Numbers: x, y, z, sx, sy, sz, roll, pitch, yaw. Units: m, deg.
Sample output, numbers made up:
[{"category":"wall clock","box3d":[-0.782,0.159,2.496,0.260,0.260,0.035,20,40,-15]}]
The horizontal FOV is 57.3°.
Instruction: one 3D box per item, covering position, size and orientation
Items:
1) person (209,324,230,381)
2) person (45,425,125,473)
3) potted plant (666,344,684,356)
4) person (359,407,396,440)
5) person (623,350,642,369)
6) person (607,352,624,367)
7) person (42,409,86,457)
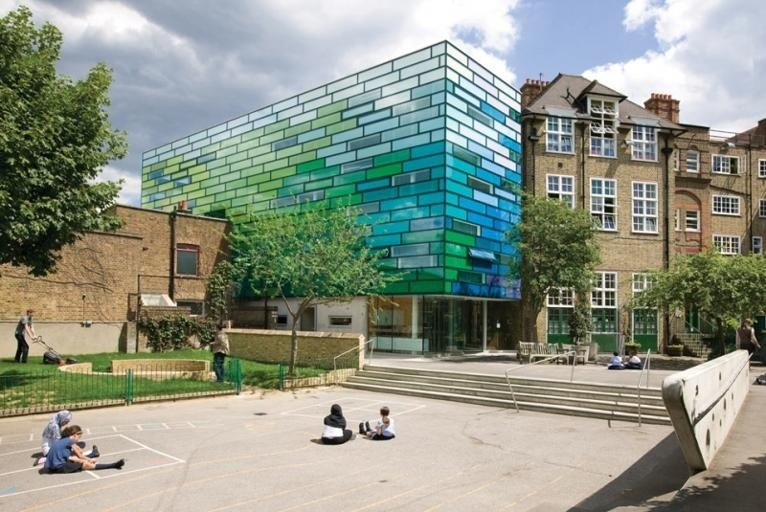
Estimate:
[{"category":"person","box3d":[-7.553,4.466,32.302,0.694,2.606,1.160,3,-9,-14]},{"category":"person","box3d":[-9.484,6.010,21.826,1.981,1.397,0.653,3,-10,-18]},{"category":"potted plant","box3d":[19.602,6.335,47.133,0.788,0.493,0.789,-8,-11,43]},{"category":"person","box3d":[-0.231,5.912,24.921,0.773,1.053,1.542,4,-8,-40]},{"category":"person","box3d":[13.530,5.620,38.177,0.994,1.040,0.940,8,-9,-3]},{"category":"person","box3d":[11.919,5.292,35.953,0.618,0.792,1.988,-3,-10,17]},{"category":"person","box3d":[-10.611,5.800,22.997,0.953,1.549,0.886,11,7,-30]}]
